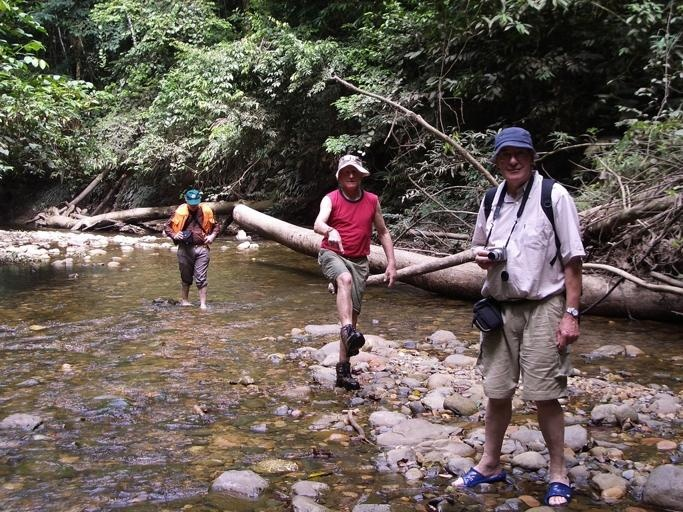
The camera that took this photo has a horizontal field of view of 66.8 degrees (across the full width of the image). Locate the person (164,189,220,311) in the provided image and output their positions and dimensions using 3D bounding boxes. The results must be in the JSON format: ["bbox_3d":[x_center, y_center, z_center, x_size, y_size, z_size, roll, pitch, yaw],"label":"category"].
[{"bbox_3d":[-2.535,-0.154,8.787,0.854,1.952,1.352,-3,12,-14],"label":"person"}]

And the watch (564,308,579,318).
[{"bbox_3d":[1.490,0.365,3.382,0.064,0.041,0.078,-34,51,-21],"label":"watch"}]

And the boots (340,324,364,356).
[{"bbox_3d":[0.096,0.838,5.031,0.203,0.342,0.238,0,11,-3],"label":"boots"}]

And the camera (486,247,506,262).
[{"bbox_3d":[1.045,-0.012,3.534,0.102,0.081,0.142,3,-5,-43],"label":"camera"}]

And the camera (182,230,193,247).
[{"bbox_3d":[-2.581,-0.300,8.602,0.231,0.218,0.105,0,5,-7],"label":"camera"}]

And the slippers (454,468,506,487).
[{"bbox_3d":[0.947,1.539,3.611,0.359,0.079,0.121,1,-15,-9],"label":"slippers"}]

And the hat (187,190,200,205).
[{"bbox_3d":[-2.470,-0.974,8.584,0.200,0.259,0.322,-3,11,-18],"label":"hat"}]

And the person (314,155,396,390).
[{"bbox_3d":[0.096,0.132,5.334,0.794,2.319,1.106,3,12,13],"label":"person"}]

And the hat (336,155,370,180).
[{"bbox_3d":[0.104,-0.918,5.261,0.301,0.227,0.323,0,10,0],"label":"hat"}]

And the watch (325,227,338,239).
[{"bbox_3d":[-0.097,-0.231,5.163,0.098,0.043,0.110,-2,31,3],"label":"watch"}]

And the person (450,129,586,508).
[{"bbox_3d":[1.240,0.497,3.509,0.707,2.145,0.825,3,12,13],"label":"person"}]

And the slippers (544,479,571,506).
[{"bbox_3d":[1.394,1.540,3.345,0.158,0.130,0.121,2,11,8],"label":"slippers"}]
